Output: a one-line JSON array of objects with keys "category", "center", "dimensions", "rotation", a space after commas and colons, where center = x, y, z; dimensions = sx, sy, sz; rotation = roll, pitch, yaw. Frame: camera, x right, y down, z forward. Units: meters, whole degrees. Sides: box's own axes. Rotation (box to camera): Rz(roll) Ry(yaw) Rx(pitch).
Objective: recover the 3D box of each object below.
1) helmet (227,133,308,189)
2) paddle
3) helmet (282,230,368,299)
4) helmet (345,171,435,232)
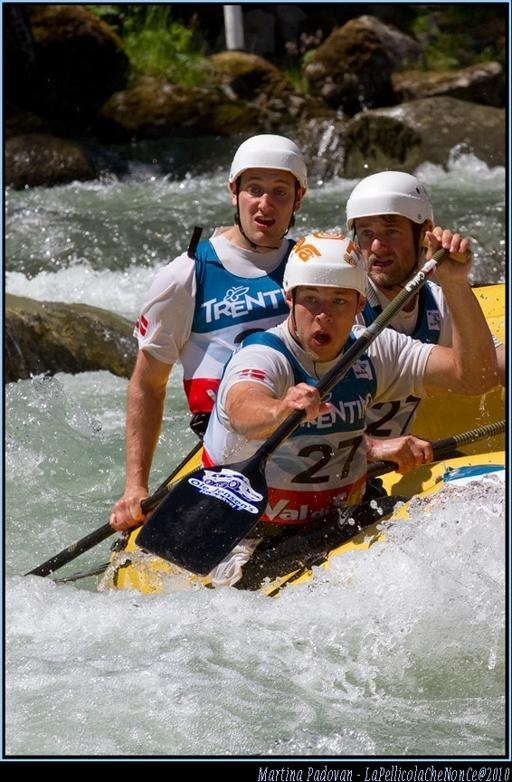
[{"category": "helmet", "center": [0.053, -0.829, 3.092], "dimensions": [0.276, 0.175, 0.315], "rotation": [5, 7, 15]}, {"category": "paddle", "center": [0.043, 0.128, 2.345], "dimensions": [0.800, 0.663, 0.418], "rotation": [-4, 15, -2]}, {"category": "helmet", "center": [0.192, -0.338, 2.407], "dimensions": [0.259, 0.218, 0.301], "rotation": [4, 10, 2]}, {"category": "helmet", "center": [0.499, -0.671, 3.089], "dimensions": [0.273, 0.234, 0.333], "rotation": [4, 20, 35]}]
